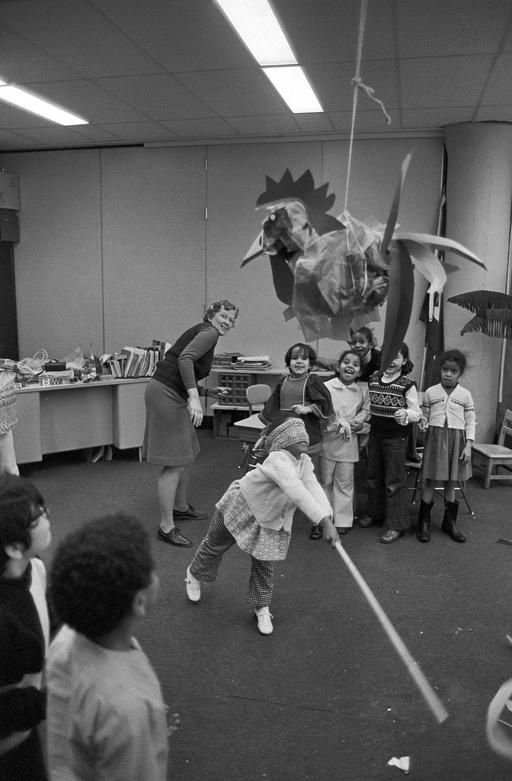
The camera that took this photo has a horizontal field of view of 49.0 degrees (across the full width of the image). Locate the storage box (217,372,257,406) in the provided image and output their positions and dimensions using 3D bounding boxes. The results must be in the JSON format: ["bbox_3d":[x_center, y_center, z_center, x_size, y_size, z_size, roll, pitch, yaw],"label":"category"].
[{"bbox_3d":[-0.226,-0.050,5.735,0.414,0.457,0.301,1,4,11],"label":"storage box"}]

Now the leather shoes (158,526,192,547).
[{"bbox_3d":[-0.465,0.852,3.275,0.213,0.098,0.087,7,7,31],"label":"leather shoes"}]

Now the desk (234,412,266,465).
[{"bbox_3d":[-0.083,0.443,4.410,0.242,0.331,0.308,-1,-15,-15],"label":"desk"}]

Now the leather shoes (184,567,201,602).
[{"bbox_3d":[-0.303,0.914,2.610,0.054,0.177,0.071,-5,-8,-31],"label":"leather shoes"}]

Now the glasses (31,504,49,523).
[{"bbox_3d":[-0.438,0.253,1.150,0.021,0.032,0.031,9,-28,-8],"label":"glasses"}]

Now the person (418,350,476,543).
[{"bbox_3d":[1.161,0.331,3.470,0.309,1.149,0.402,3,6,20],"label":"person"}]

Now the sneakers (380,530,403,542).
[{"bbox_3d":[0.793,0.868,3.375,0.050,0.064,0.151,-3,-6,32],"label":"sneakers"}]

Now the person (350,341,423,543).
[{"bbox_3d":[0.819,0.311,3.445,0.299,1.193,0.503,1,6,1],"label":"person"}]

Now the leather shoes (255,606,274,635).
[{"bbox_3d":[0.036,0.965,2.334,0.043,0.051,0.117,0,3,-7],"label":"leather shoes"}]

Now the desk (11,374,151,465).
[{"bbox_3d":[-1.569,0.129,4.949,1.088,0.697,0.578,-6,31,-25],"label":"desk"}]

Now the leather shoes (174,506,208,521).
[{"bbox_3d":[-0.439,0.809,3.726,0.190,0.096,0.091,-1,-1,-3],"label":"leather shoes"}]

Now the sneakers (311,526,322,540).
[{"bbox_3d":[0.373,0.875,3.452,0.058,0.066,0.147,-1,-5,10],"label":"sneakers"}]
